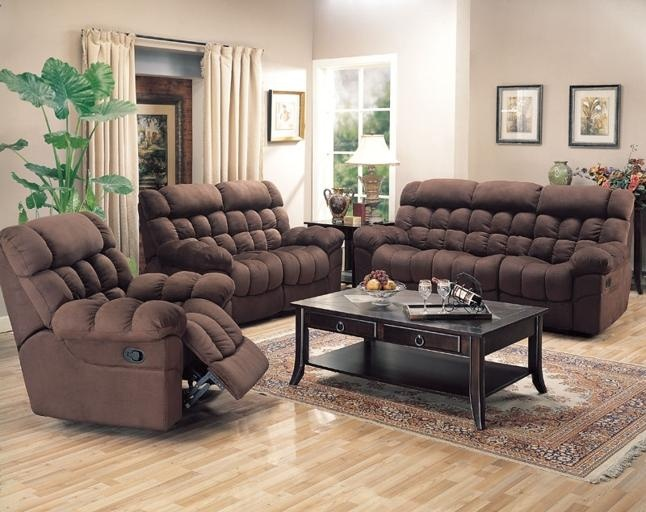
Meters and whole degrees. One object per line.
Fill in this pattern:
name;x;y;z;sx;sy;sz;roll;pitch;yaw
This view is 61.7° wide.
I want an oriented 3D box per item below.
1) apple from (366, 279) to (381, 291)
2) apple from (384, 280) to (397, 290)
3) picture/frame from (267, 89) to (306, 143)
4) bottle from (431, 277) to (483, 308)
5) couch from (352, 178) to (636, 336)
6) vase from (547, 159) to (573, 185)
apple;0.323;0.178;3.454;0.079;0.066;0.077;-2;2;-3
apple;0.431;0.183;3.449;0.063;0.053;0.063;-2;6;35
picture/frame;-0.480;-1.784;6.787;0.107;0.671;0.798;5;8;41
bottle;0.909;0.246;3.657;0.300;0.089;0.112;24;-16;43
couch;1.544;0.004;4.646;1.701;0.717;0.776;3;4;36
vase;2.568;-0.932;5.978;0.291;0.300;0.290;-4;8;-42
